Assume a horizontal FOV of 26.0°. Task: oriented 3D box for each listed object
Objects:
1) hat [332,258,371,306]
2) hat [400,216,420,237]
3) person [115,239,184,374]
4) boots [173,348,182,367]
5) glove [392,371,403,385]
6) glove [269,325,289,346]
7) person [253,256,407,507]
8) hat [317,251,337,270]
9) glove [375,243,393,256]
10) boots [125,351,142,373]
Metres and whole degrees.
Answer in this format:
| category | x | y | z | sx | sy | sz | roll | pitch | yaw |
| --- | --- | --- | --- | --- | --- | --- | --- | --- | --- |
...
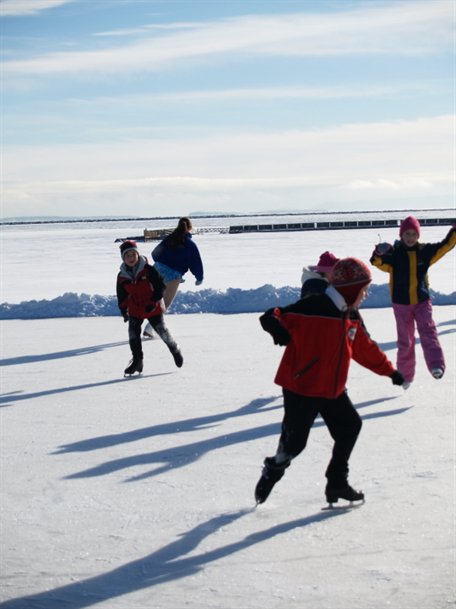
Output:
| category | x | y | z | sx | sy | sz | roll | pitch | yaw |
| --- | --- | --- | --- | --- | --- | --- | --- | --- | --- |
| hat | 0.552 | -0.111 | 4.500 | 0.175 | 0.224 | 0.209 | -10 | 7 | -42 |
| hat | 1.297 | -0.552 | 6.977 | 0.138 | 0.164 | 0.173 | 2 | 9 | 0 |
| person | -0.644 | 0.013 | 8.091 | 0.512 | 1.082 | 0.503 | -2 | 7 | -6 |
| boots | -0.402 | 0.441 | 8.010 | 0.057 | 0.168 | 0.120 | -4 | -22 | -7 |
| glove | 0.831 | 0.353 | 4.817 | 0.057 | 0.076 | 0.030 | 5 | 41 | 43 |
| glove | 0.230 | 0.140 | 4.347 | 0.080 | 0.099 | 0.163 | -1 | 7 | 3 |
| person | 0.435 | 0.376 | 4.510 | 0.754 | 1.174 | 0.324 | -5 | 8 | -30 |
| hat | 0.506 | -0.222 | 4.993 | 0.078 | 0.080 | 0.105 | -10 | -4 | -9 |
| glove | 1.085 | -0.383 | 6.856 | 0.110 | 0.098 | 0.220 | -1 | 7 | 0 |
| boots | -0.753 | 0.492 | 7.985 | 0.092 | 0.156 | 0.244 | 1 | 7 | 21 |
